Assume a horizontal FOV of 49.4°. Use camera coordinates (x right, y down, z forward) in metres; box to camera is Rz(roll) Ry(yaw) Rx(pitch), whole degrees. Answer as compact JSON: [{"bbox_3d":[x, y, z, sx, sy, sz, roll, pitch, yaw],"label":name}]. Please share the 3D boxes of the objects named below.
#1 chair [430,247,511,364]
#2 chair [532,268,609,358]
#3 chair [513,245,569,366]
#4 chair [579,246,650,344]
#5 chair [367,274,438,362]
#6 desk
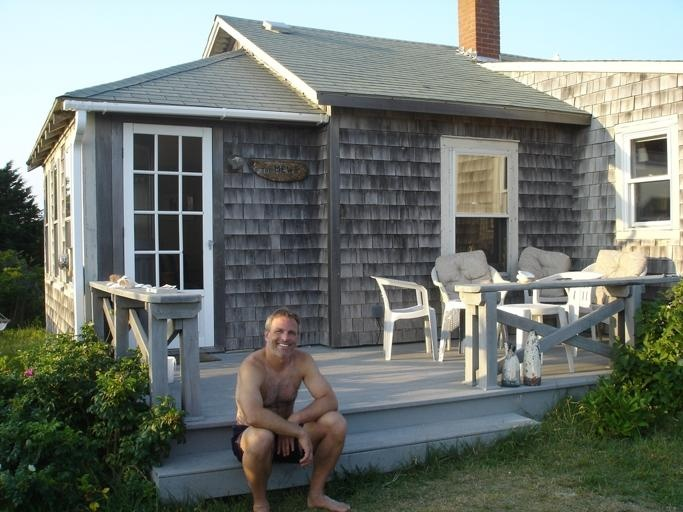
[{"bbox_3d":[1.524,0.577,9.034,0.940,1.368,0.980,-5,-7,-13],"label":"chair"},{"bbox_3d":[2.651,0.841,8.862,0.727,0.868,1.065,-14,-38,30],"label":"chair"},{"bbox_3d":[2.608,0.657,9.565,0.760,1.429,0.954,7,8,13],"label":"chair"},{"bbox_3d":[3.198,0.532,8.926,0.875,1.246,0.904,4,-3,41],"label":"chair"},{"bbox_3d":[0.782,0.704,8.871,0.803,1.180,0.885,-3,2,-5],"label":"chair"},{"bbox_3d":[1.852,0.863,8.434,1.509,0.793,1.521,-2,-2,16],"label":"desk"}]
